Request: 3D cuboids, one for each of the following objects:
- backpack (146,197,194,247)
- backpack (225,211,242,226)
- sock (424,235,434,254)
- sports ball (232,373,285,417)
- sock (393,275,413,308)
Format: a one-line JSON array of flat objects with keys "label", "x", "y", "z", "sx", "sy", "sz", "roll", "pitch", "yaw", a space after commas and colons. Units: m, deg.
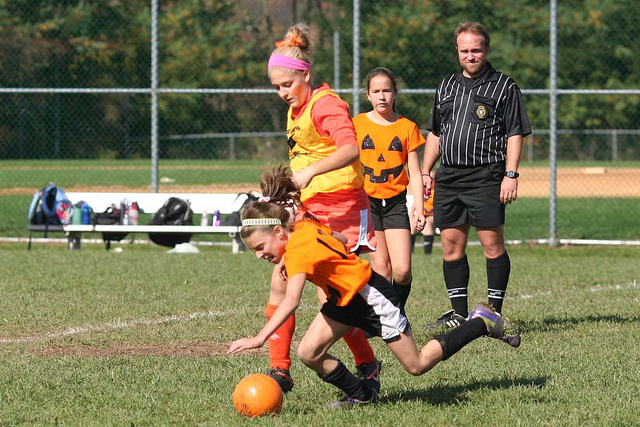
[{"label": "backpack", "x": -2.890, "y": 0.190, "z": 20.684, "sx": 0.845, "sy": 0.963, "sz": 0.390, "roll": -2, "pitch": 3, "yaw": -9}, {"label": "backpack", "x": -1.689, "y": 0.111, "z": 20.483, "sx": 0.275, "sy": 0.257, "sz": 0.703, "roll": -2, "pitch": 4, "yaw": -8}, {"label": "sock", "x": 2.087, "y": 0.593, "z": 20.551, "sx": 0.157, "sy": 0.364, "sz": 0.268, "roll": -1, "pitch": 3, "yaw": 5}, {"label": "sports ball", "x": -0.843, "y": 2.439, "z": 14.233, "sx": 0.547, "sy": 0.564, "sz": 0.539, "roll": -30, "pitch": 19, "yaw": 11}, {"label": "sock", "x": 1.236, "y": 1.192, "z": 16.171, "sx": 0.256, "sy": 0.486, "sz": 0.641, "roll": -1, "pitch": 4, "yaw": 3}]
